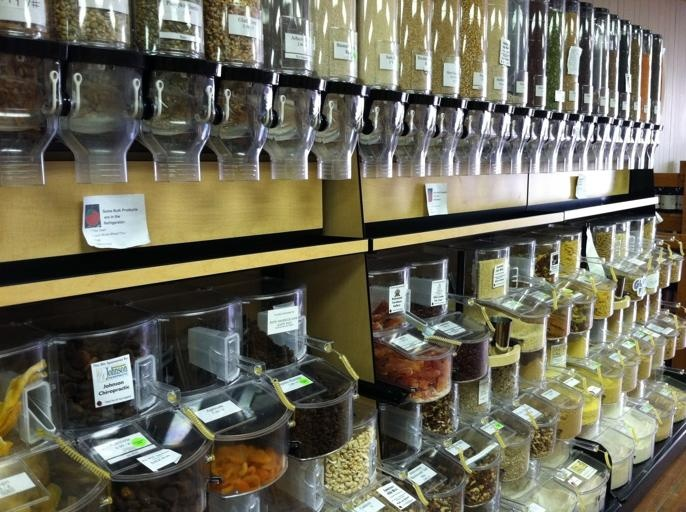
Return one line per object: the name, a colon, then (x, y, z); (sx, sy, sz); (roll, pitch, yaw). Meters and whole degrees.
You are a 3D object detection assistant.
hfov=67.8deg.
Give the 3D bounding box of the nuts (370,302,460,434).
nuts: (0.213, 0.375, 1.740); (0.215, 0.340, 0.212); (-6, 17, -35)
